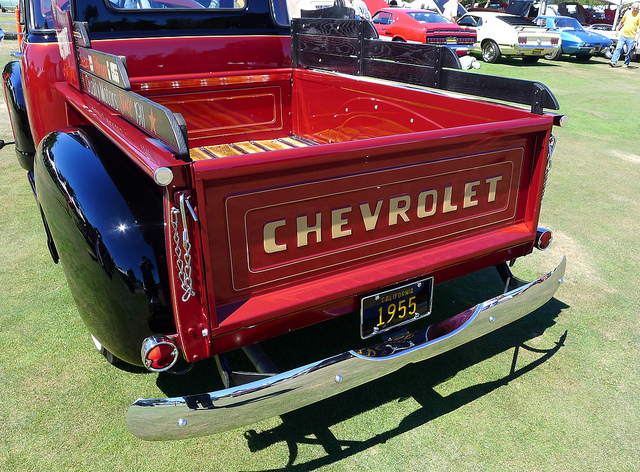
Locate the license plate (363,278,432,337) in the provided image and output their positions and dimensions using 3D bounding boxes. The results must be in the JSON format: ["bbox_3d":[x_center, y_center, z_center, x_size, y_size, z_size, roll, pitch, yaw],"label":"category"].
[{"bbox_3d":[0.413,0.379,2.317,0.458,0.242,0.017,-12,23,-27],"label":"license plate"}]

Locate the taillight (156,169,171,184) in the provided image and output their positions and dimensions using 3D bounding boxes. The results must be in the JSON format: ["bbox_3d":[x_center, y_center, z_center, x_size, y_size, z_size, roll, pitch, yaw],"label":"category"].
[{"bbox_3d":[-0.598,-0.225,1.650,0.053,0.054,0.009,-8,27,-23],"label":"taillight"}]

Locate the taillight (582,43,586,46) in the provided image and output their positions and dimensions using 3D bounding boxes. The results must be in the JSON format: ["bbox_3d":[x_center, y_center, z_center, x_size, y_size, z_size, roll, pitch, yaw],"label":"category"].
[{"bbox_3d":[9.208,-6.610,15.012,0.145,0.085,0.034,-9,27,-24],"label":"taillight"}]

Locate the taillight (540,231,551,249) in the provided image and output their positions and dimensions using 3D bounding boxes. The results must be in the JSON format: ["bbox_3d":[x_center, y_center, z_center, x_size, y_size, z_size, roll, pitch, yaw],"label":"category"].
[{"bbox_3d":[1.417,0.030,2.710,0.104,0.129,0.021,-12,29,-29],"label":"taillight"}]

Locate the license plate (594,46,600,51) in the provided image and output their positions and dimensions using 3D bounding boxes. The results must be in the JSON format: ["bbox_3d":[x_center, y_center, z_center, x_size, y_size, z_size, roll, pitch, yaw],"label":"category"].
[{"bbox_3d":[9.894,-6.655,15.420,0.172,0.176,0.041,7,8,37],"label":"license plate"}]

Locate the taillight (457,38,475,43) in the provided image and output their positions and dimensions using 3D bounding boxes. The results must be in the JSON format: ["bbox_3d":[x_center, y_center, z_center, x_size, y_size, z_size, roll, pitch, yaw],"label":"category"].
[{"bbox_3d":[4.569,-6.061,13.479,0.774,0.151,0.058,-14,30,-33],"label":"taillight"}]

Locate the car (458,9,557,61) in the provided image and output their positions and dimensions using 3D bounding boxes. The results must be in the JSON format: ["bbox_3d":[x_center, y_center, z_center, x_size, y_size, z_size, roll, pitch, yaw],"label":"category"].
[{"bbox_3d":[6.535,-7.041,15.431,2.371,1.392,4.584,-3,27,-7],"label":"car"}]
